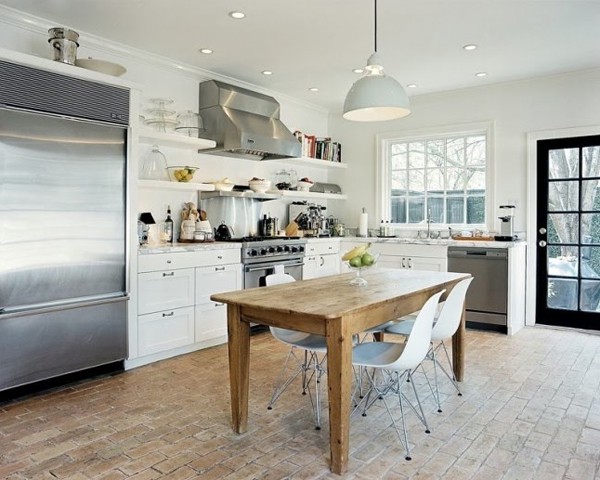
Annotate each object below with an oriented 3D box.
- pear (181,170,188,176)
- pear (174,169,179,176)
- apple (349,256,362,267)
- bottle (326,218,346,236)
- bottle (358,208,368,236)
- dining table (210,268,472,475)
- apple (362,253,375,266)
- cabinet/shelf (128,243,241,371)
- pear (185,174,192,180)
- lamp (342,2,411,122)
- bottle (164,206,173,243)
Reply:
[{"bbox_3d":[-1.260,-0.737,4.746,0.057,0.056,0.024,-1,6,-13],"label":"pear"},{"bbox_3d":[-1.359,-0.746,4.764,0.097,0.071,0.028,4,7,43],"label":"pear"},{"bbox_3d":[0.391,0.155,3.083,0.074,0.068,0.078,7,43,10],"label":"apple"},{"bbox_3d":[0.571,-0.201,6.815,0.371,0.311,0.223,-1,1,14],"label":"bottle"},{"bbox_3d":[0.975,-0.273,6.611,0.136,0.436,0.320,1,5,8],"label":"bottle"},{"bbox_3d":[0.251,0.788,3.032,0.903,0.912,1.420,4,6,40],"label":"dining table"},{"bbox_3d":[0.472,0.133,3.024,0.084,0.092,0.078,5,8,-17],"label":"apple"},{"bbox_3d":[-1.139,0.644,4.075,0.611,0.988,1.257,-3,-2,34],"label":"cabinet/shelf"},{"bbox_3d":[-1.248,-0.707,4.892,0.057,0.070,0.246,-1,4,-11],"label":"pear"},{"bbox_3d":[0.672,-1.460,3.651,0.470,1.031,1.591,1,5,13],"label":"lamp"},{"bbox_3d":[-1.442,-0.178,4.759,0.104,0.392,0.315,-2,6,-16],"label":"bottle"}]
